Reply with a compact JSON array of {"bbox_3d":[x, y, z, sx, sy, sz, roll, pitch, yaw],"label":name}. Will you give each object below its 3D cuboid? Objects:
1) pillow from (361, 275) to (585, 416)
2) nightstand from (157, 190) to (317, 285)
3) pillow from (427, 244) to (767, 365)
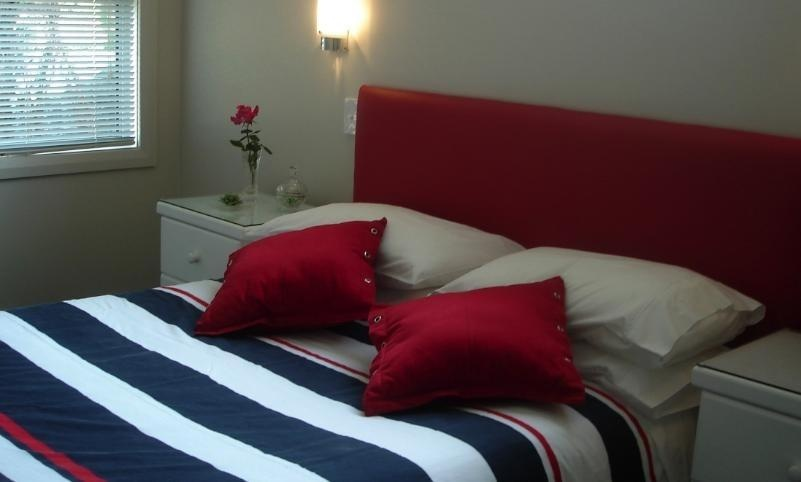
[{"bbox_3d":[0.282,0.362,2.264,0.796,0.234,0.727,-3,28,13],"label":"pillow"},{"bbox_3d":[-1.096,0.018,3.579,0.590,0.592,0.480,-2,-17,17],"label":"nightstand"},{"bbox_3d":[0.792,0.219,2.533,1.047,0.323,0.661,18,30,41],"label":"pillow"}]
